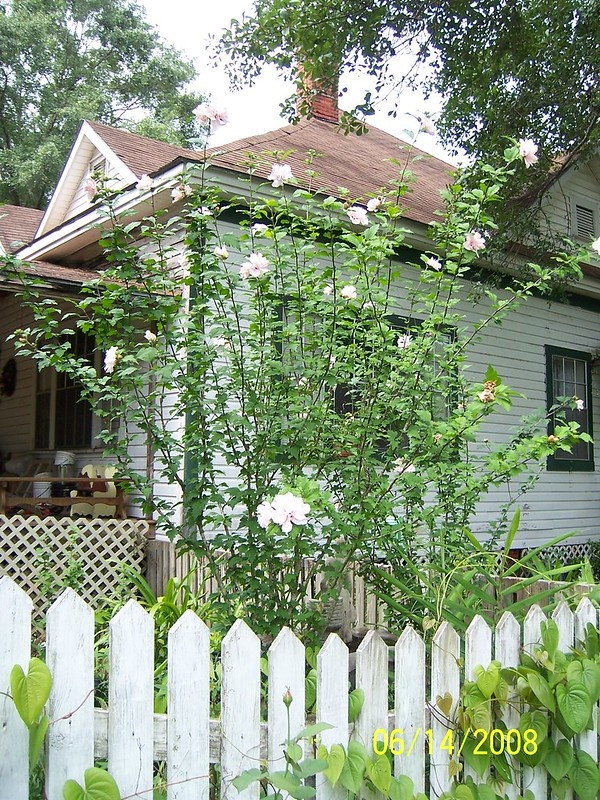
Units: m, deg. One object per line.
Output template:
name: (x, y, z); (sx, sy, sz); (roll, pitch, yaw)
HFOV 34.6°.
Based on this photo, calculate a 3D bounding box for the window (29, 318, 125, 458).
window: (-2.588, -0.130, 10.759); (0.113, 1.381, 1.755); (4, -7, -41)
